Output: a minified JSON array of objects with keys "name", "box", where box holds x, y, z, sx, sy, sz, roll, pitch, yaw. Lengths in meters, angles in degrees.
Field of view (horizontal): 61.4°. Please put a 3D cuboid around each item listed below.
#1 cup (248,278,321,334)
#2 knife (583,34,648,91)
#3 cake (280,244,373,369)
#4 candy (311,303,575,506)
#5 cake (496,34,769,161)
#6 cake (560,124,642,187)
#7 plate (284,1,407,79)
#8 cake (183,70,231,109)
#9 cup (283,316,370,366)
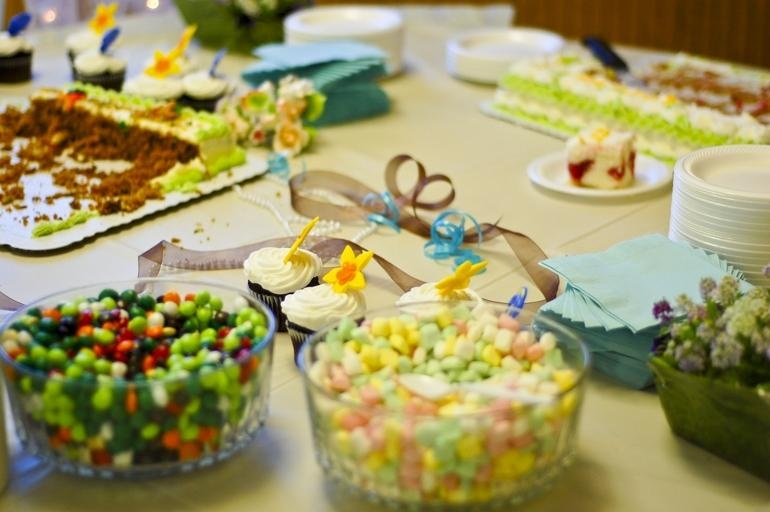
[{"name":"cup","box":[-0.158,0.074,1.057,0.091,0.083,0.092,0,35,0]},{"name":"knife","box":[0.540,-0.452,1.521,0.058,0.034,0.229,5,24,-18]},{"name":"cake","box":[-0.080,0.068,1.012,0.159,0.191,0.140,4,16,-9]},{"name":"candy","box":[0.069,0.140,0.797,0.225,0.085,0.239,0,10,2]},{"name":"cake","box":[0.513,-0.398,1.403,0.409,0.097,0.288,21,34,31]},{"name":"cake","box":[0.451,-0.214,1.325,0.128,0.119,0.129,2,15,14]},{"name":"plate","box":[-0.109,-0.619,1.876,0.344,0.194,0.319,-13,40,-4]},{"name":"cake","box":[-0.471,-0.442,1.722,0.104,0.035,0.103,4,46,-1]},{"name":"cup","box":[-0.084,0.113,0.930,0.092,0.067,0.090,-3,28,1]}]
